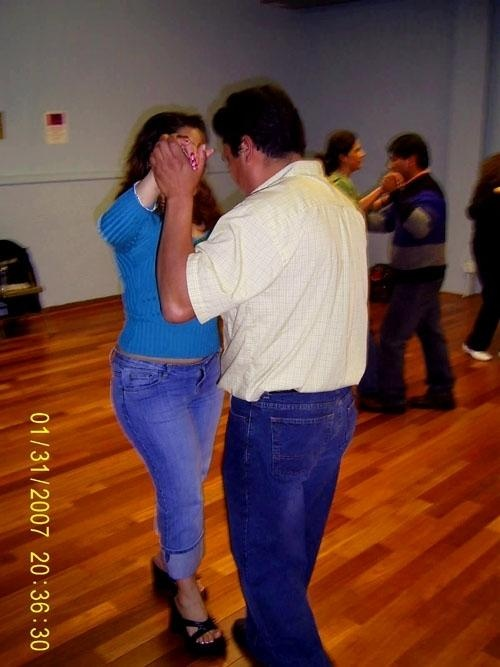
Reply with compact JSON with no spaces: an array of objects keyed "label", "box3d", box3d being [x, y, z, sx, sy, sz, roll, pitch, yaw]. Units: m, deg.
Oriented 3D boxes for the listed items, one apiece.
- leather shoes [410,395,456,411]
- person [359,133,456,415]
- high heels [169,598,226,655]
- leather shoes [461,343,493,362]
[{"label":"leather shoes","box3d":[1.126,0.408,3.315,0.319,0.121,0.103,4,1,17]},{"label":"person","box3d":[0.980,-0.361,3.248,0.572,1.643,0.488,0,13,11]},{"label":"high heels","box3d":[-0.145,0.832,1.513,0.077,0.057,0.185,-2,2,-32]},{"label":"leather shoes","box3d":[1.797,0.152,4.227,0.088,0.106,0.254,-49,26,-3]}]
